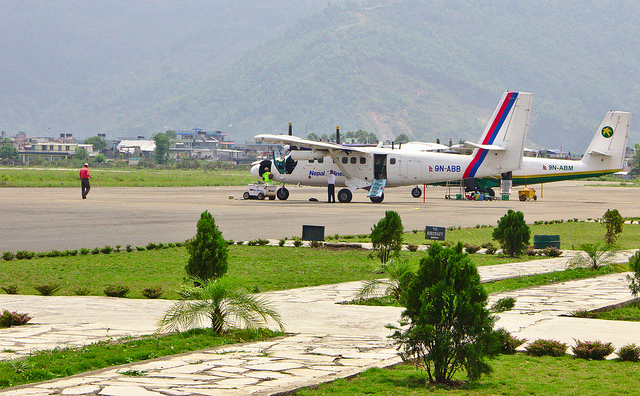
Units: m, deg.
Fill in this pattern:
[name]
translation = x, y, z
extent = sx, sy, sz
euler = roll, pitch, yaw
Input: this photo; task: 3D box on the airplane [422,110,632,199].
[airplane]
translation = 16.569, -2.637, 74.639
extent = 9.588, 3.487, 9.022
euler = 4, 5, 37
